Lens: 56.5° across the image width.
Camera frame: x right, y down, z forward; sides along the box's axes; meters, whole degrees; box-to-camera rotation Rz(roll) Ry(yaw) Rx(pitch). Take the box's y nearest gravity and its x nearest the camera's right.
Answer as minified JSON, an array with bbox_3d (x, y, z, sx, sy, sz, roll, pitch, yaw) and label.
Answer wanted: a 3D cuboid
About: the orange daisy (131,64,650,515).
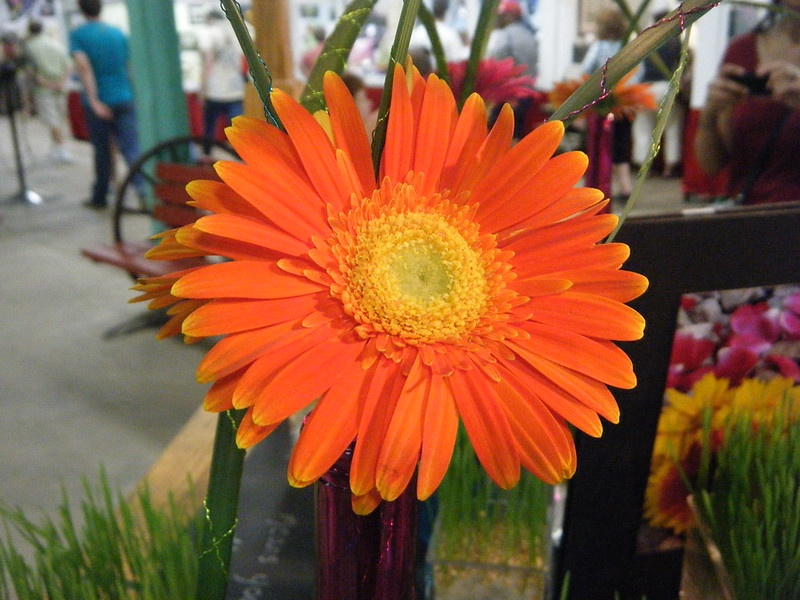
[{"bbox_3d":[-0.013,-0.038,0.533,0.388,0.110,0.373,15,42,28],"label":"orange daisy"}]
